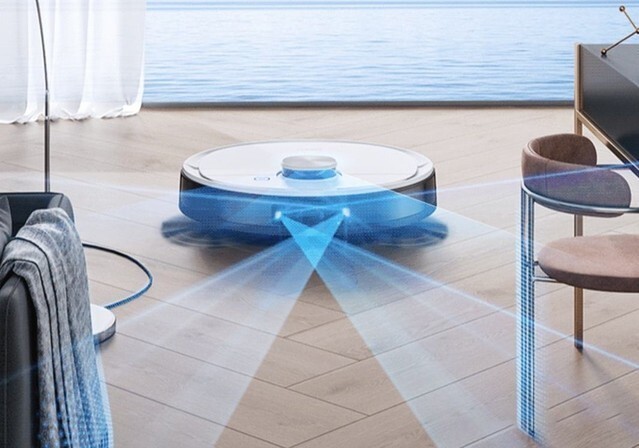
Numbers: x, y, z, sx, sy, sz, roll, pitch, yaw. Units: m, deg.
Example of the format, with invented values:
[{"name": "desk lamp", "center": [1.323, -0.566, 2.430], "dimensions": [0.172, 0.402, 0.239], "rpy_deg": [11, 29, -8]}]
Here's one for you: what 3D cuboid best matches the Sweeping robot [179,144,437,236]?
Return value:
[{"name": "Sweeping robot", "center": [-0.061, -0.200, 2.497], "dimensions": [1.187, 0.269, 0.829], "rpy_deg": [0, 21, 4]}]
